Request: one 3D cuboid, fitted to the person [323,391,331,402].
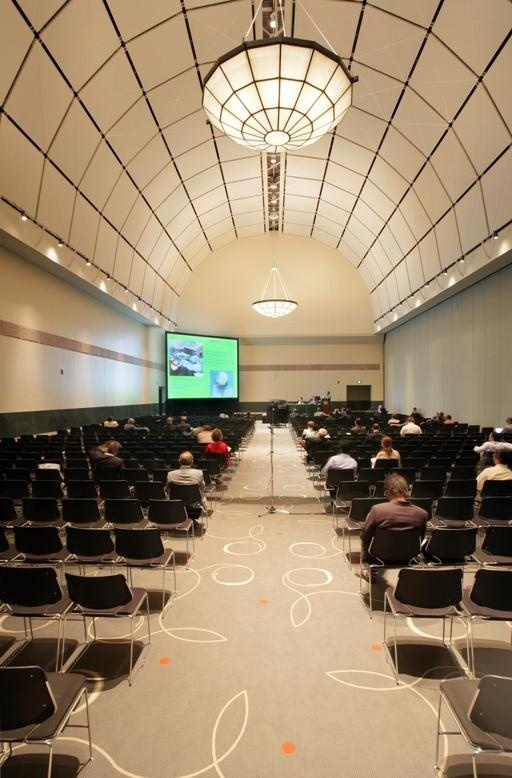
[{"bbox_3d":[4.456,0.519,30.739,0.523,1.052,0.535,1,-8,3],"label":"person"}]

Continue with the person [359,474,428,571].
[{"bbox_3d":[1.148,1.149,4.116,0.519,0.849,0.310,0,0,11],"label":"person"}]

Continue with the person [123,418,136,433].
[{"bbox_3d":[-3.913,1.149,14.991,0.287,0.794,0.287,1,-2,3],"label":"person"}]

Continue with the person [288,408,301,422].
[{"bbox_3d":[1.794,1.306,22.418,0.429,0.568,0.731,-1,3,4],"label":"person"}]

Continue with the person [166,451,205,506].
[{"bbox_3d":[-0.828,1.104,6.151,0.471,0.882,0.590,0,3,4],"label":"person"}]

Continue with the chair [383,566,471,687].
[{"bbox_3d":[1.135,1.492,3.344,0.506,0.742,0.747,0,0,15],"label":"chair"}]

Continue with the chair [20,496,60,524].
[{"bbox_3d":[-2.305,1.325,5.214,0.410,0.347,0.354,0,0,-5],"label":"chair"}]

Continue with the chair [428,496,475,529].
[{"bbox_3d":[2.124,1.324,5.264,0.450,0.412,0.423,1,-1,4],"label":"chair"}]

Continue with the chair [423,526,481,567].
[{"bbox_3d":[1.588,1.296,3.978,0.400,0.366,0.378,0,3,1],"label":"chair"}]

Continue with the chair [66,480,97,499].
[{"bbox_3d":[-2.132,1.251,5.947,0.288,0.282,0.231,1,24,7],"label":"chair"}]

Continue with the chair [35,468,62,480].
[{"bbox_3d":[-3.009,1.230,7.007,0.352,0.174,0.253,0,0,-13],"label":"chair"}]

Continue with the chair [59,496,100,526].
[{"bbox_3d":[-1.879,1.319,5.198,0.321,0.358,0.310,2,0,2],"label":"chair"}]

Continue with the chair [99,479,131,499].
[{"bbox_3d":[-1.747,1.261,6.012,0.278,0.240,0.257,2,-3,1],"label":"chair"}]
